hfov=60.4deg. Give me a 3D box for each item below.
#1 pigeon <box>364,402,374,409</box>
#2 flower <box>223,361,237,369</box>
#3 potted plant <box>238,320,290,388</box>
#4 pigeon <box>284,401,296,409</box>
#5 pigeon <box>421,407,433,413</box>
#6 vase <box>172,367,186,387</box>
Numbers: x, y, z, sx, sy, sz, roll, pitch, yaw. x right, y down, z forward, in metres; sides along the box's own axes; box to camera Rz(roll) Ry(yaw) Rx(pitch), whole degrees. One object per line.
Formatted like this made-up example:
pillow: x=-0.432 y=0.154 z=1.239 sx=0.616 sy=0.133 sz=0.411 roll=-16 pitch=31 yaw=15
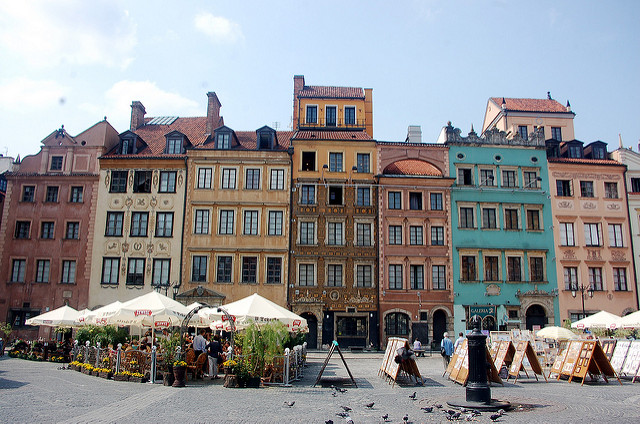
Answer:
pigeon: x=2.042 y=8.030 z=22.854 sx=0.382 sy=0.239 sz=0.206 roll=11 pitch=-24 yaw=8
flower: x=-4.397 y=7.352 z=26.416 sx=0.436 sy=0.256 sz=0.450 roll=-8 pitch=-13 yaw=34
potted plant: x=-3.231 y=7.041 z=28.101 sx=2.650 sy=3.325 sz=2.850 roll=-1 pitch=-5 yaw=-3
pigeon: x=-1.356 y=8.022 z=22.865 sx=0.566 sy=0.384 sz=0.221 roll=-1 pitch=-19 yaw=10
pigeon: x=4.426 y=8.151 z=22.560 sx=0.492 sy=0.225 sz=0.161 roll=-4 pitch=-40 yaw=45
vase: x=-6.790 y=7.881 z=26.203 sx=0.609 sy=0.902 sz=0.403 roll=4 pitch=-13 yaw=-14
